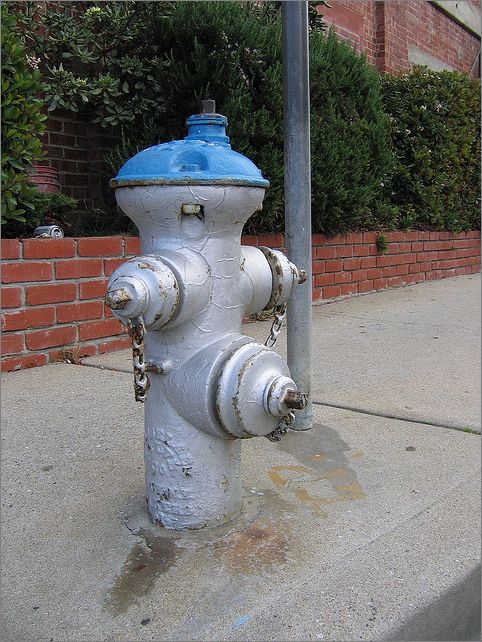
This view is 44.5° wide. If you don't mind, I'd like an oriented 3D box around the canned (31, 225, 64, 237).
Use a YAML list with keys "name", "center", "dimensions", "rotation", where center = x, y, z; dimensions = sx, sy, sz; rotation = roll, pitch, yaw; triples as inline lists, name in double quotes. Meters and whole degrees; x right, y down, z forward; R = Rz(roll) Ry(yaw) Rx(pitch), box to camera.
- name: "canned"
  center: [-1.154, -0.530, 3.486]
  dimensions: [0.160, 0.064, 0.270]
  rotation: [-4, 11, -20]
